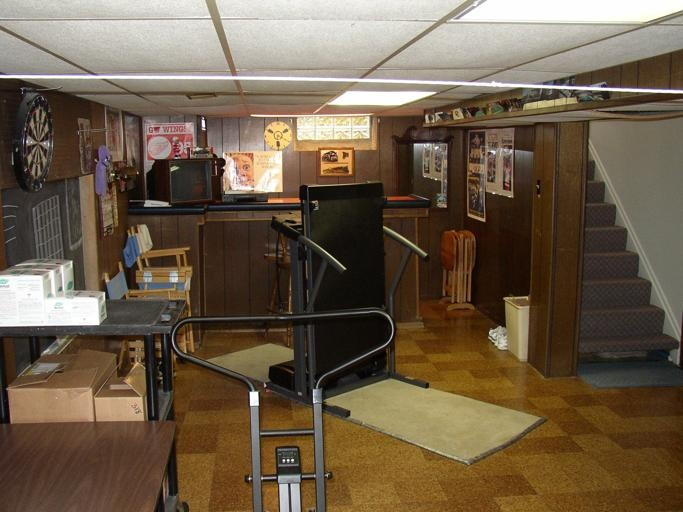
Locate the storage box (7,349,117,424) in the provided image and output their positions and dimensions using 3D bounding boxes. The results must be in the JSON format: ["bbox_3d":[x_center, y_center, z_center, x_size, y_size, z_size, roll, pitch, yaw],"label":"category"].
[{"bbox_3d":[-1.605,0.762,3.036,0.468,0.241,0.510,-1,11,-5],"label":"storage box"}]

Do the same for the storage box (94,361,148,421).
[{"bbox_3d":[-1.255,0.773,2.949,0.226,0.198,0.313,1,6,-5],"label":"storage box"}]

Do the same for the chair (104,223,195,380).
[{"bbox_3d":[-1.732,0.393,4.583,0.577,1.057,1.469,-2,19,-8],"label":"chair"}]

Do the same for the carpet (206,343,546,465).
[{"bbox_3d":[0.676,1.229,4.054,1.488,0.217,1.235,8,14,35],"label":"carpet"}]

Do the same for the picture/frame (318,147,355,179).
[{"bbox_3d":[-0.092,-1.496,7.952,0.513,0.400,0.057,0,6,-6],"label":"picture/frame"}]

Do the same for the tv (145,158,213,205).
[{"bbox_3d":[-2.055,-0.953,6.635,0.610,0.641,0.908,7,10,29],"label":"tv"}]
